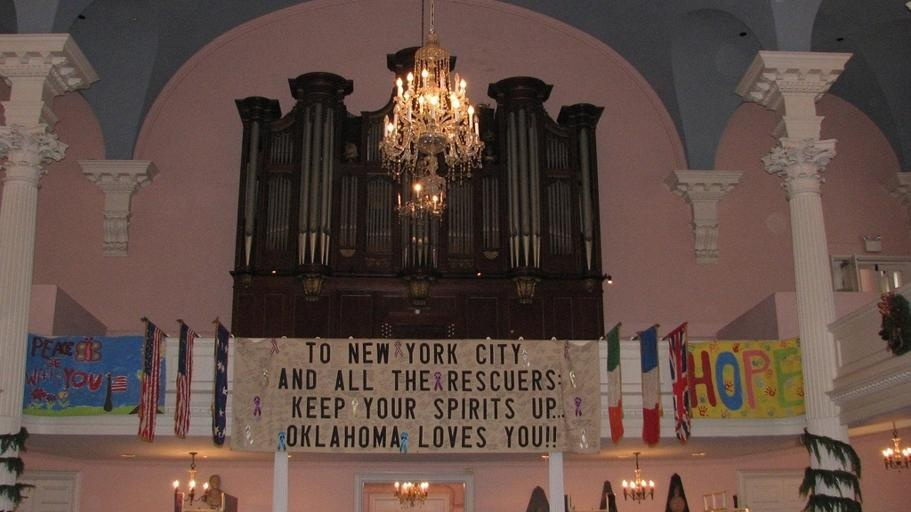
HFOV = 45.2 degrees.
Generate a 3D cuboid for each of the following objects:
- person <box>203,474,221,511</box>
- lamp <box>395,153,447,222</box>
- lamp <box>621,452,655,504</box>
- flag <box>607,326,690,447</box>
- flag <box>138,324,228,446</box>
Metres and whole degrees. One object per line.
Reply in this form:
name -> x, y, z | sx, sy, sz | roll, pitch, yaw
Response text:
person -> -5.275, 5.174, 23.800 | 0.363, 0.789, 1.278 | 2, -15, -12
lamp -> -0.743, -1.403, 22.829 | 1.140, 1.522, 1.093 | 6, -30, -7
lamp -> 4.237, 5.132, 25.032 | 0.797, 0.988, 0.549 | -2, -15, 0
flag -> 3.935, 2.630, 22.239 | 1.717, 2.368, 1.156 | -4, -15, 9
flag -> -5.530, 2.648, 22.078 | 2.669, 3.012, 0.399 | 2, -18, -12
